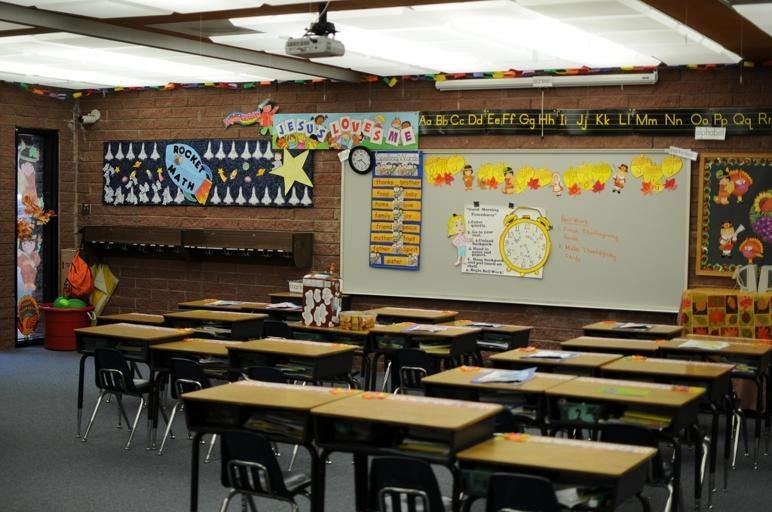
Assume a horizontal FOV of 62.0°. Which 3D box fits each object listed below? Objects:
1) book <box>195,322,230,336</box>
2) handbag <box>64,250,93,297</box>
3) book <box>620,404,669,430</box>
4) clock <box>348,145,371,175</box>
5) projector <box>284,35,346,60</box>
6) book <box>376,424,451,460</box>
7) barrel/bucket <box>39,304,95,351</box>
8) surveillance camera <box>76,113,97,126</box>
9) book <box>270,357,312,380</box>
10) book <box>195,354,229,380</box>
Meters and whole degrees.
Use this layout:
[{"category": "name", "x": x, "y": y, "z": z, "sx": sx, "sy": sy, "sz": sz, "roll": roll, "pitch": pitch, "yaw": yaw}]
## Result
[{"category": "book", "x": -1.942, "y": 0.811, "z": 7.213, "sx": 0.289, "sy": 0.054, "sz": 0.178, "roll": 2, "pitch": 0, "yaw": 32}, {"category": "handbag", "x": -5.022, "y": 0.301, "z": 10.450, "sx": 0.418, "sy": 0.776, "sz": 0.257, "roll": -2, "pitch": 5, "yaw": -23}, {"category": "book", "x": 1.753, "y": 1.076, "z": 4.307, "sx": 0.236, "sy": 0.044, "sz": 0.166, "roll": 3, "pitch": 4, "yaw": 32}, {"category": "clock", "x": -0.373, "y": -1.403, "z": 9.247, "sx": 0.549, "sy": 0.438, "sz": 0.077, "roll": 1, "pitch": 3, "yaw": 26}, {"category": "projector", "x": -0.651, "y": -1.895, "z": 5.755, "sx": 0.489, "sy": 0.206, "sz": 0.332, "roll": -1, "pitch": 5, "yaw": -13}, {"category": "book", "x": 0.170, "y": 1.073, "z": 3.703, "sx": 0.297, "sy": 0.054, "sz": 0.250, "roll": 1, "pitch": -5, "yaw": 21}, {"category": "barrel/bucket", "x": -4.812, "y": 1.054, "z": 9.678, "sx": 1.056, "sy": 0.618, "sz": 0.630, "roll": 0, "pitch": -1, "yaw": -6}, {"category": "surveillance camera", "x": -5.121, "y": -2.319, "z": 10.932, "sx": 0.368, "sy": 0.192, "sz": 0.185, "roll": 3, "pitch": 5, "yaw": 26}, {"category": "book", "x": -0.787, "y": 0.980, "z": 5.579, "sx": 0.244, "sy": 0.061, "sz": 0.241, "roll": 3, "pitch": 2, "yaw": 40}, {"category": "book", "x": -1.680, "y": 1.050, "z": 6.146, "sx": 0.341, "sy": 0.095, "sz": 0.306, "roll": 5, "pitch": 17, "yaw": 12}]
